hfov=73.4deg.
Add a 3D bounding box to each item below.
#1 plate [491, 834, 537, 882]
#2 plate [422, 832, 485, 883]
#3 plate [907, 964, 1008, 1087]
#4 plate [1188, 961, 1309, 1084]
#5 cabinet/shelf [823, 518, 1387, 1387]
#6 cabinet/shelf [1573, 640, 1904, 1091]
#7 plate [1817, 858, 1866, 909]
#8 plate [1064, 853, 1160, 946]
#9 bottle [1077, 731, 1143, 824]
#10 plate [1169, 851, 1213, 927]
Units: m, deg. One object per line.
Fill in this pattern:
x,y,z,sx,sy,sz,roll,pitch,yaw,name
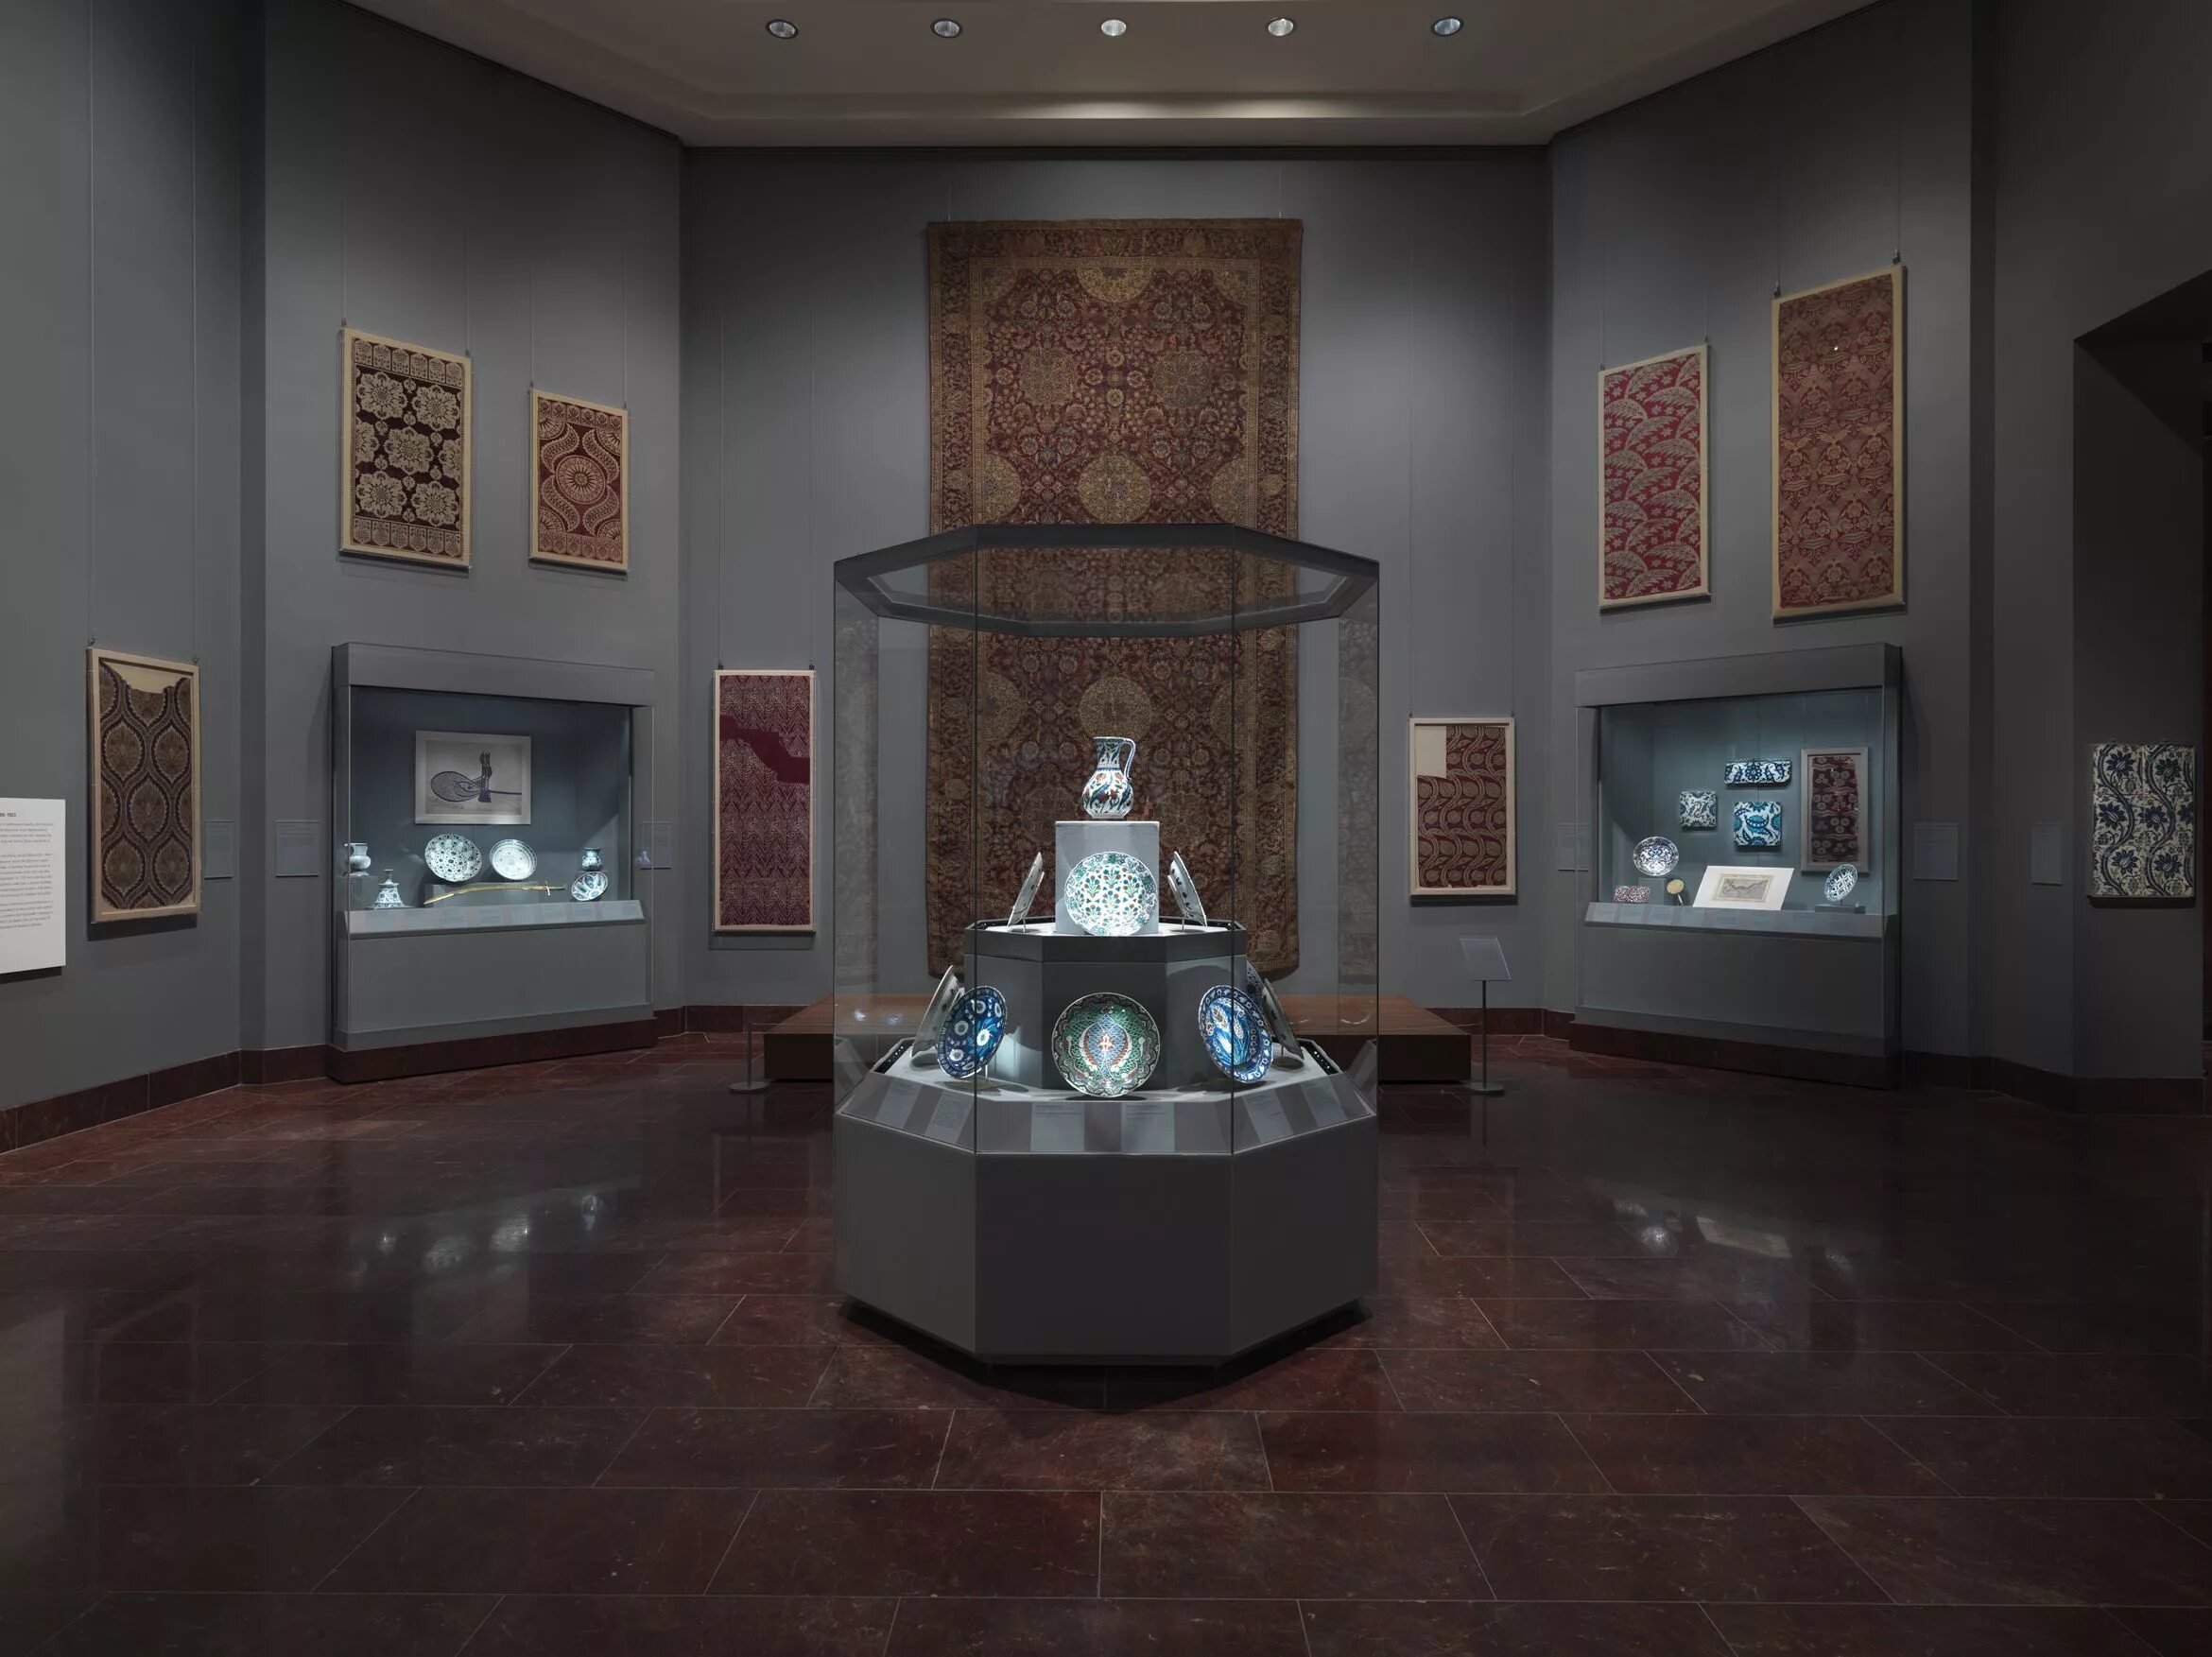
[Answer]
-4.014,0.212,10.033,0.069,0.251,0.243,-3,-1,33,plate
-4.315,0.193,9.776,0.294,0.307,0.096,4,-3,-42,plate
-0.561,0.714,5.526,0.182,0.367,0.461,-12,18,-42,plate
0.506,0.724,5.433,0.142,0.413,0.402,-27,-29,36,plate
-0.019,0.363,6.524,2.896,3.872,2.627,0,-1,-4,cabinet/shelf
4.200,0.274,9.676,0.984,3.415,2.556,4,-4,-36,cabinet/shelf
4.726,0.343,9.488,0.041,0.413,0.292,3,1,-26,plate
0.014,0.222,5.388,0.301,0.187,0.299,-10,14,-35,plate
0.013,-0.180,5.681,0.256,0.370,0.255,1,-4,0,bottle
0.295,0.227,5.470,0.075,0.341,0.048,-13,12,2,plate
